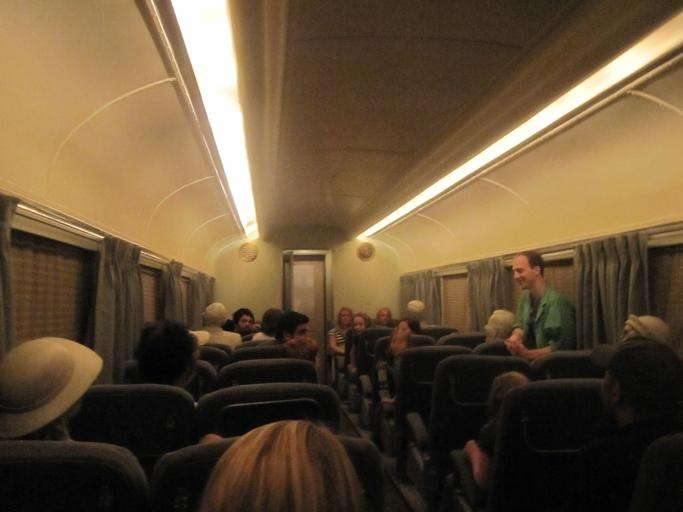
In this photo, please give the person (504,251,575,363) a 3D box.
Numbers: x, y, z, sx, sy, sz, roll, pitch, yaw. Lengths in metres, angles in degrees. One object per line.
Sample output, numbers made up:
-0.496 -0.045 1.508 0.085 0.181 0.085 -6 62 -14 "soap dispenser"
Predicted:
2.429 0.615 5.909 0.856 1.509 1.072 0 -6 -1 "person"
